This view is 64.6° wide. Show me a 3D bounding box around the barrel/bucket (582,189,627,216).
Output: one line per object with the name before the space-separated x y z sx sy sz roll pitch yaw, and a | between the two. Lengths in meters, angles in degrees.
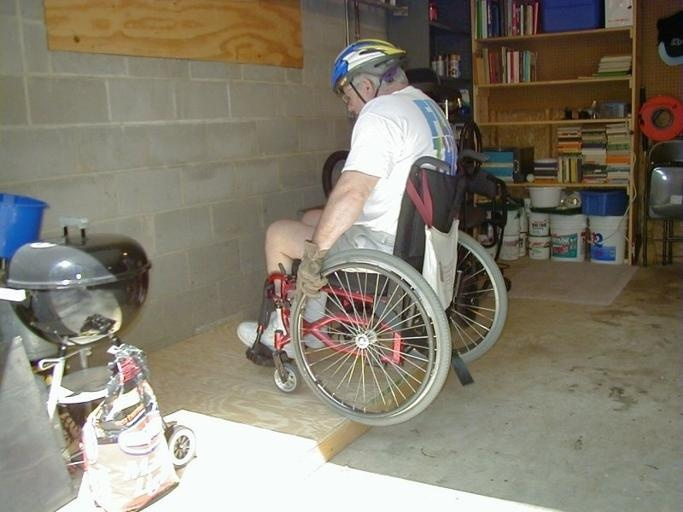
barrel/bucket | 2.459 -0.493 5.047 0.256 0.197 0.316 0 4 12

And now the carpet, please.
carpet | 1.924 0.204 4.652 1.018 0.065 1.403 9 17 30

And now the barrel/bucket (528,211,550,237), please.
barrel/bucket | 1.940 -0.320 5.381 0.223 0.256 0.231 -1 3 0

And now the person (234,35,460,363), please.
person | -0.028 -0.253 2.821 1.202 1.655 1.075 3 9 33

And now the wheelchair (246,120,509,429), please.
wheelchair | 0.215 0.107 2.699 1.025 1.227 1.143 9 17 31

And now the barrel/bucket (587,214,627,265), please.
barrel/bucket | 2.658 -0.167 5.241 0.383 0.576 0.422 2 7 39

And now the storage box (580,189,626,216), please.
storage box | 2.445 -0.492 5.054 0.249 0.203 0.314 -1 4 4

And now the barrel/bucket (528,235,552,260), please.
barrel/bucket | 1.969 -0.080 5.386 0.214 0.233 0.220 -1 5 0

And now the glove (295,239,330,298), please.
glove | -0.125 0.055 2.247 0.089 0.159 0.209 9 41 0
